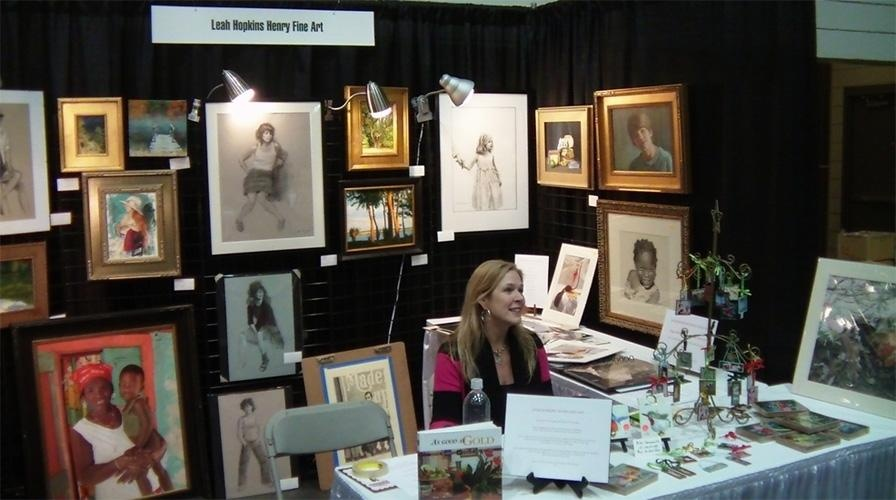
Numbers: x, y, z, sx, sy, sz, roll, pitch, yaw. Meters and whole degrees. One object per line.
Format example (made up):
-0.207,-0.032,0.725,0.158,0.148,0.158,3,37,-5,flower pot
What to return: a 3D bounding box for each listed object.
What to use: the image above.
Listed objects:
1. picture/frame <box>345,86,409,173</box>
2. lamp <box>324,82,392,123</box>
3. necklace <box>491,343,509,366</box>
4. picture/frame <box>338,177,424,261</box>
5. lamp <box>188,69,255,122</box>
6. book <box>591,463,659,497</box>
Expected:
-0.675,-1.113,5.636,0.840,0.923,0.074,-2,4,-24,picture/frame
-0.754,-1.324,5.580,0.594,0.312,0.316,1,9,31,lamp
0.364,0.753,4.424,0.109,0.134,0.135,-1,50,0,necklace
-0.665,-0.304,5.767,0.823,0.685,0.080,-2,3,-23,picture/frame
-1.933,-1.270,5.227,0.579,0.428,0.201,13,18,10,lamp
1.044,1.373,3.679,0.351,0.086,0.209,-9,9,-37,book
